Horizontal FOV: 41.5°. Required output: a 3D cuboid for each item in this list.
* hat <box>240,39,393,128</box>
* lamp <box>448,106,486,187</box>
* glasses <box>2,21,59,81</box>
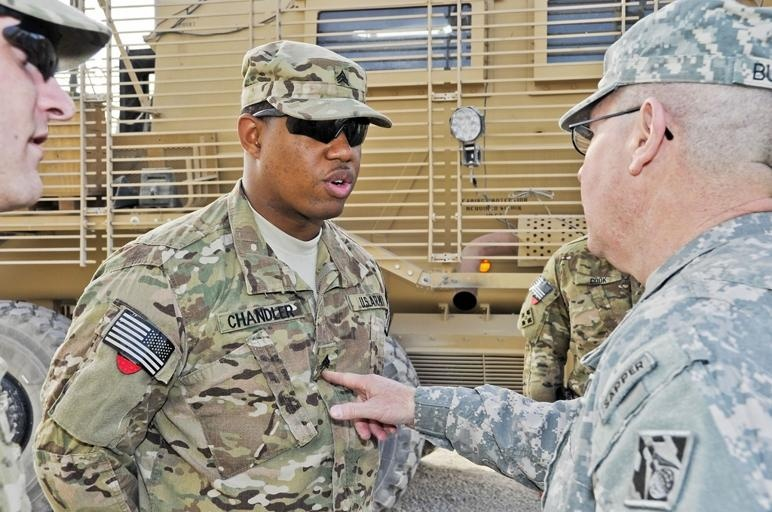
[{"bbox_3d":[-0.375,-0.732,4.598,0.489,0.252,0.393,2,2,32],"label":"hat"},{"bbox_3d":[0.578,-0.735,6.969,0.223,0.546,0.189,3,14,26],"label":"lamp"},{"bbox_3d":[-1.272,-0.737,3.670,0.191,0.102,0.143,30,-5,42],"label":"glasses"}]
